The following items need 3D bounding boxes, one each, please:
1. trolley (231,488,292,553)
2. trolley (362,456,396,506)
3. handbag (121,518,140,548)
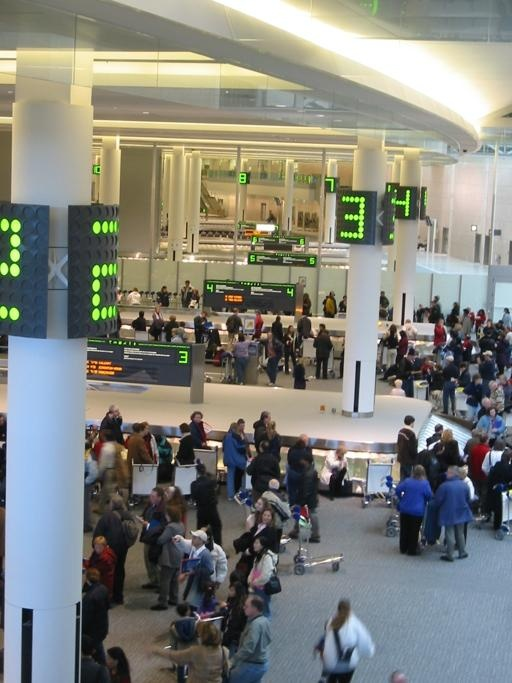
[{"bbox_3d":[0.078,2.183,8.168,0.470,0.608,1.696,20,-12,-8],"label":"trolley"},{"bbox_3d":[2.037,2.369,11.201,0.621,0.734,0.603,2,1,-43],"label":"trolley"},{"bbox_3d":[-1.350,2.055,7.205,0.126,0.373,0.396,3,3,0],"label":"handbag"}]
